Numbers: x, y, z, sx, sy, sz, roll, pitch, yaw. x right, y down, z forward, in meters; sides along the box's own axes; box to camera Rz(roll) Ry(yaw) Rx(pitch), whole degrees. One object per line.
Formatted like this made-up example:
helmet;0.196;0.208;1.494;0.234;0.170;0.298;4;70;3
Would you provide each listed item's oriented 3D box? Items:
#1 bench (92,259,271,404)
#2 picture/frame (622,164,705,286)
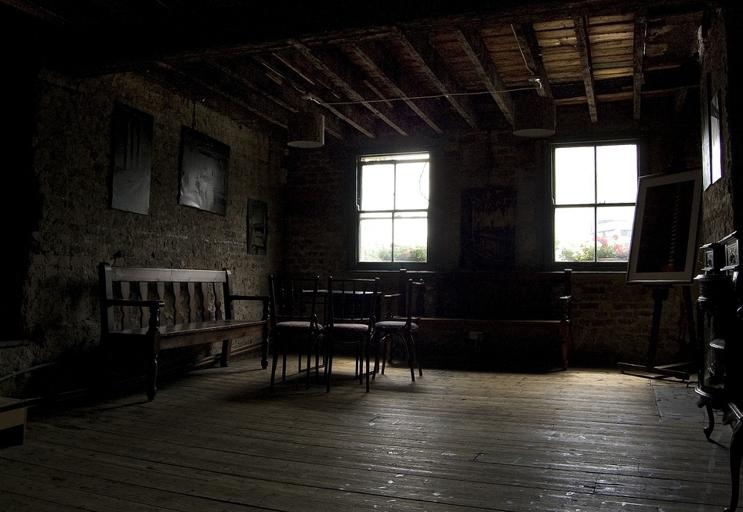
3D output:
bench;-1.935;0.760;6.445;0.785;1.241;1.922;1;-1;26
picture/frame;3.351;-0.328;6.690;0.424;1.271;0.752;-6;9;-44
